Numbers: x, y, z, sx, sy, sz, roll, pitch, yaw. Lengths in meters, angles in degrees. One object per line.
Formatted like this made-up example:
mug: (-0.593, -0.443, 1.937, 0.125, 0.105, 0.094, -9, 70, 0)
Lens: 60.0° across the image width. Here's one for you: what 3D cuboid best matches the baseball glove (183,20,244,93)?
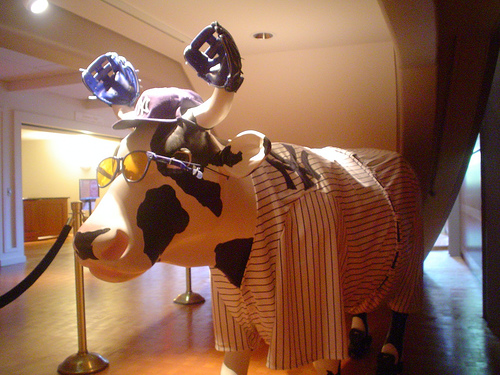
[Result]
baseball glove: (-0.167, -0.697, 2.091, 0.226, 0.088, 0.277, -23, -13, -29)
